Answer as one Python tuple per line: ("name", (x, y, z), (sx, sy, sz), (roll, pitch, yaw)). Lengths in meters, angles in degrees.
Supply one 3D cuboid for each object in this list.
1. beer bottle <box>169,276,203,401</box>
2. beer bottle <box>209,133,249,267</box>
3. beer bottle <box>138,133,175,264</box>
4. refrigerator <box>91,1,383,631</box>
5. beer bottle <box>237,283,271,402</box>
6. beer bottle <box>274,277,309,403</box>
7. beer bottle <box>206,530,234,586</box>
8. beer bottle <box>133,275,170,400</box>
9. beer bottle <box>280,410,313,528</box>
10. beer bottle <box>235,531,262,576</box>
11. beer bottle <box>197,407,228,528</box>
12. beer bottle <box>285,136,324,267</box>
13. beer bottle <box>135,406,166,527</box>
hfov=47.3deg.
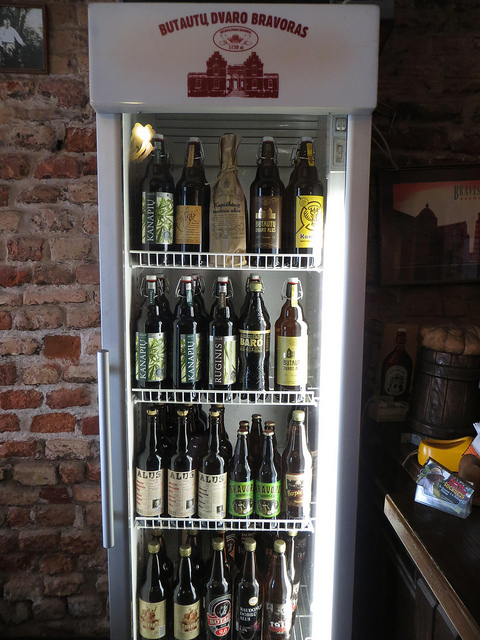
("beer bottle", (-0.140, 0.057, 1.475), (0.083, 0.352, 0.089), (0, 10, 0))
("beer bottle", (-0.026, -0.297, 1.458), (0.093, 0.372, 0.112), (-3, 16, -5))
("beer bottle", (-0.204, -0.297, 1.437), (0.087, 0.364, 0.103), (-3, 15, -8))
("refrigerator", (-0.043, 0.123, 1.495), (0.649, 1.634, 0.736), (-1, 1, -10))
("beer bottle", (0.033, 0.057, 1.487), (0.089, 0.313, 0.091), (0, 6, 0))
("beer bottle", (0.128, 0.054, 1.459), (0.088, 0.337, 0.089), (-1, 10, 0))
("beer bottle", (-0.057, 0.655, 1.559), (0.093, 0.198, 0.087), (-1, 6, 0))
("beer bottle", (-0.221, 0.033, 1.439), (0.087, 0.305, 0.088), (1, 8, 0))
("beer bottle", (0.153, 0.401, 1.480), (0.088, 0.326, 0.093), (0, 8, 0))
("beer bottle", (0.028, 0.676, 1.588), (0.068, 0.213, 0.071), (0, 32, 0))
("beer bottle", (-0.066, 0.392, 1.497), (0.092, 0.319, 0.092), (0, 7, 0))
("beer bottle", (0.159, -0.307, 1.415), (0.098, 0.334, 0.108), (-1, 14, 1))
("beer bottle", (-0.235, 0.385, 1.459), (0.073, 0.299, 0.076), (2, 6, 0))
